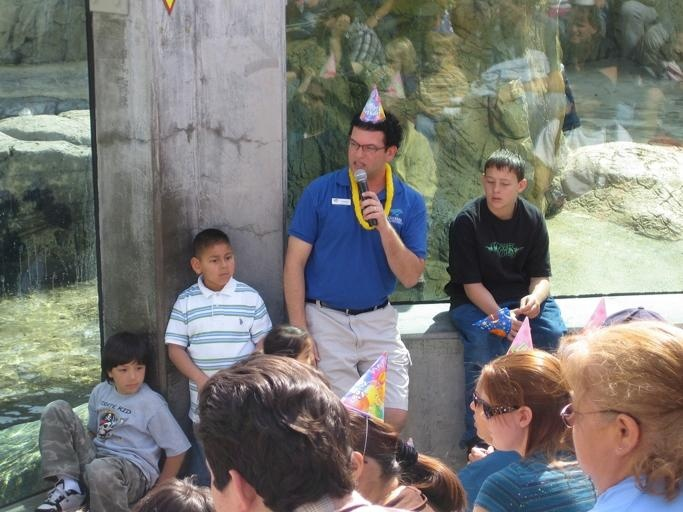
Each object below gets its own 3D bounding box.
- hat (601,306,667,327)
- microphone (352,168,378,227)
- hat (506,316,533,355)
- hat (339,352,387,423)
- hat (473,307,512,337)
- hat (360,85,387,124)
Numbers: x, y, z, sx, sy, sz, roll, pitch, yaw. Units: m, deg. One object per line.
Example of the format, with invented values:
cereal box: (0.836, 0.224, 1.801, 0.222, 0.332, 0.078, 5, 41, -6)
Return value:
hat: (1.438, 0.298, 3.642, 0.158, 0.071, 0.160, 8, -12, -37)
microphone: (0.141, -0.336, 4.278, 0.115, 0.342, 0.243, -2, 3, -8)
hat: (0.879, 0.384, 3.601, 0.143, 0.164, 0.118, 8, 25, 8)
hat: (0.134, 0.573, 3.223, 0.155, 0.326, 0.244, 9, -30, 17)
hat: (0.957, 0.413, 4.614, 0.179, 0.154, 0.094, -3, -24, 19)
hat: (0.179, -0.899, 4.417, 0.166, 0.224, 0.123, 3, -6, 35)
